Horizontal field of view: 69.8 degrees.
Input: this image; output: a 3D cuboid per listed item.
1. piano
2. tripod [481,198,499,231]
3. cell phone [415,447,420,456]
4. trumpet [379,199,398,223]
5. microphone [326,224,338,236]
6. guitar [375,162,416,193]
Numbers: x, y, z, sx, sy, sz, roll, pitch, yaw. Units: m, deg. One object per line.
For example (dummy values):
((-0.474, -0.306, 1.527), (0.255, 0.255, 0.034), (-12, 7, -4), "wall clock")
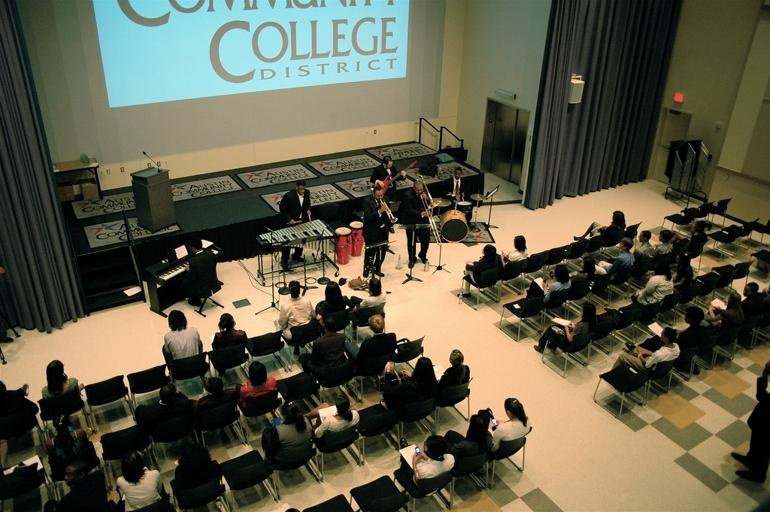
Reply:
((-4.415, 0.510, 12.283), (1.371, 1.569, 1.624), (13, 16, 32), "piano")
((2.994, -1.178, 15.856), (0.438, 0.803, 0.615), (14, 42, 15), "tripod")
((0.493, 2.984, 8.462), (0.085, 0.081, 0.108), (-5, 23, 3), "cell phone")
((0.024, -1.042, 12.975), (0.231, 0.238, 0.857), (-15, 40, -12), "trumpet")
((-1.295, -0.645, 13.098), (0.292, 0.077, 0.322), (22, 23, 23), "microphone")
((0.264, -2.047, 14.529), (1.309, 0.510, 0.184), (-31, 24, 1), "guitar")
